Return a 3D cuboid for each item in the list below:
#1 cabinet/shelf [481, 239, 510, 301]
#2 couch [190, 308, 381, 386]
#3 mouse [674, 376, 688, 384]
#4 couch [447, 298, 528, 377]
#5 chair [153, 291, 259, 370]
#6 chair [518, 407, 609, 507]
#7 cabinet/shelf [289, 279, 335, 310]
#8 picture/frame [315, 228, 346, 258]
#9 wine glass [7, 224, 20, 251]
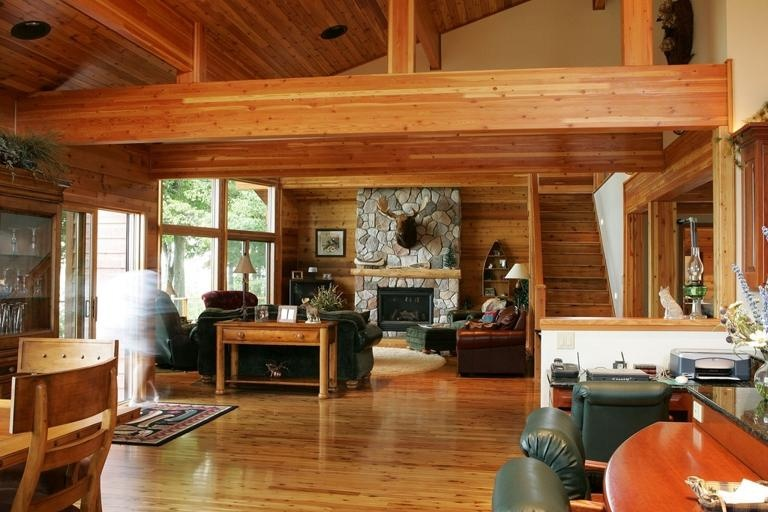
[{"bbox_3d":[2.436,0.289,13.001,0.556,1.227,0.313,1,4,9],"label":"cabinet/shelf"},{"bbox_3d":[-1.074,1.327,8.554,2.529,0.944,1.164,0,0,7],"label":"couch"},{"bbox_3d":[2.357,0.979,4.756,0.074,0.017,0.063,-5,2,-5],"label":"mouse"},{"bbox_3d":[1.461,1.255,9.662,1.176,0.906,1.481,-1,3,-9],"label":"couch"},{"bbox_3d":[-3.003,1.220,9.634,1.544,1.197,1.600,0,0,-39],"label":"chair"},{"bbox_3d":[0.924,1.103,3.500,0.667,0.425,0.691,-4,-1,16],"label":"chair"},{"bbox_3d":[-1.617,1.035,13.814,1.330,0.786,0.604,1,-9,-5],"label":"cabinet/shelf"},{"bbox_3d":[-1.238,-0.299,14.251,0.957,0.680,0.059,0,-4,3],"label":"picture/frame"},{"bbox_3d":[-3.246,-0.132,5.271,0.037,0.225,0.073,1,4,12],"label":"wine glass"}]
